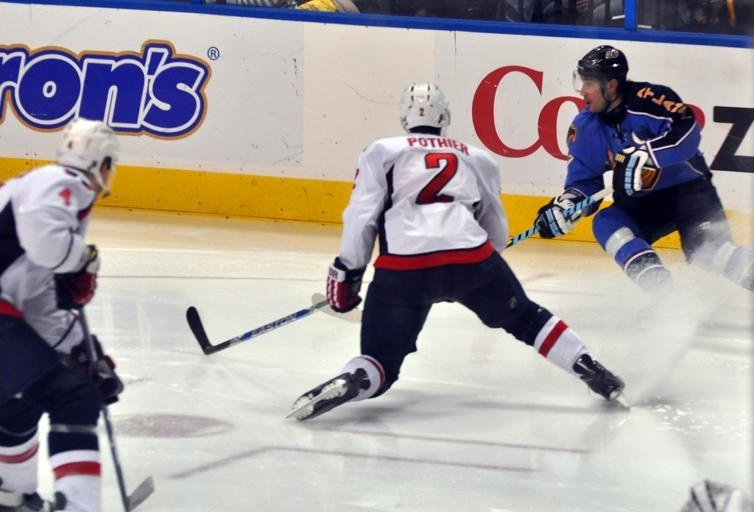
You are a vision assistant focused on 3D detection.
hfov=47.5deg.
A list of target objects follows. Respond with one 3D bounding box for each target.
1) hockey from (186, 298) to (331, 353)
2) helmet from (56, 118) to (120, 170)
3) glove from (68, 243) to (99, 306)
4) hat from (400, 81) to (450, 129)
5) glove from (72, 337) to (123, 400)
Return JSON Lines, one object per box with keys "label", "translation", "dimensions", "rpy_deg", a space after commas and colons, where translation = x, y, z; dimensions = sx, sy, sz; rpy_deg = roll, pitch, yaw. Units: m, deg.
{"label": "hockey", "translation": [-0.639, 0.342, 4.189], "dimensions": [0.398, 0.092, 0.373], "rpy_deg": [-28, -1, -14]}
{"label": "helmet", "translation": [-1.040, -0.416, 3.187], "dimensions": [0.164, 0.197, 0.212], "rpy_deg": [14, 12, 21]}
{"label": "glove", "translation": [-1.082, 0.064, 3.159], "dimensions": [0.075, 0.197, 0.117], "rpy_deg": [3, 13, -20]}
{"label": "hat", "translation": [0.217, -0.681, 3.865], "dimensions": [0.194, 0.207, 0.224], "rpy_deg": [0, 16, 8]}
{"label": "glove", "translation": [-1.024, 0.428, 3.270], "dimensions": [0.175, 0.246, 0.099], "rpy_deg": [-41, -24, 21]}
